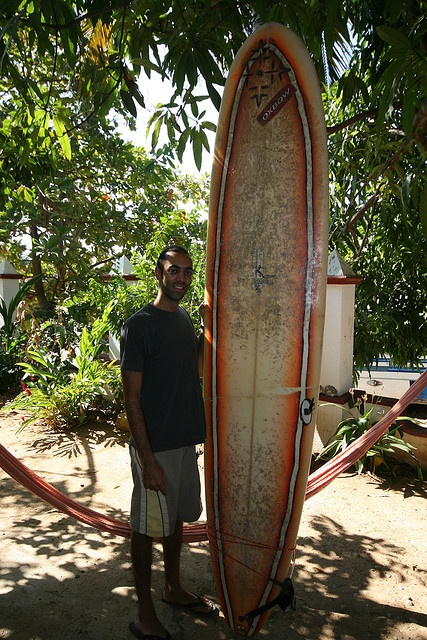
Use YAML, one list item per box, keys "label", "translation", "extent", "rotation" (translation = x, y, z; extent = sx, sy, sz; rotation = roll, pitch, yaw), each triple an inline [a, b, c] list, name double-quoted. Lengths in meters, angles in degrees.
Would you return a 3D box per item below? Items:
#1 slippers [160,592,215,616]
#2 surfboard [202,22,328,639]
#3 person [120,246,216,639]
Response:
- label: "slippers"
  translation: [-0.091, 1.136, 1.925]
  extent: [0.183, 0.050, 0.074]
  rotation: [0, -8, 23]
- label: "surfboard"
  translation: [0.171, 0.008, 1.859]
  extent: [0.508, 2.370, 0.377]
  rotation: [2, 4, 16]
- label: "person"
  translation: [-0.167, 0.444, 1.793]
  extent: [0.263, 1.452, 0.408]
  rotation: [3, 4, 31]
